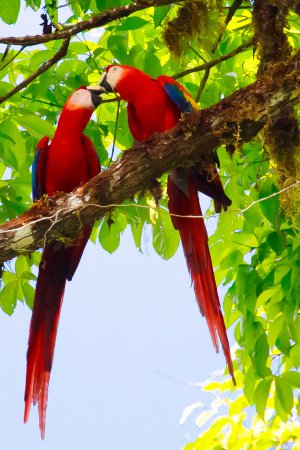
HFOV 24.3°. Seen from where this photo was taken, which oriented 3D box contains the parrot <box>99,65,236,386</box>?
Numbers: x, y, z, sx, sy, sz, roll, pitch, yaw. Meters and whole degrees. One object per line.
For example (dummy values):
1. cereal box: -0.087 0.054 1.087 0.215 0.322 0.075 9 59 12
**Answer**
1. parrot: 0.132 -0.076 2.711 0.381 1.220 0.742 -21 -48 11
